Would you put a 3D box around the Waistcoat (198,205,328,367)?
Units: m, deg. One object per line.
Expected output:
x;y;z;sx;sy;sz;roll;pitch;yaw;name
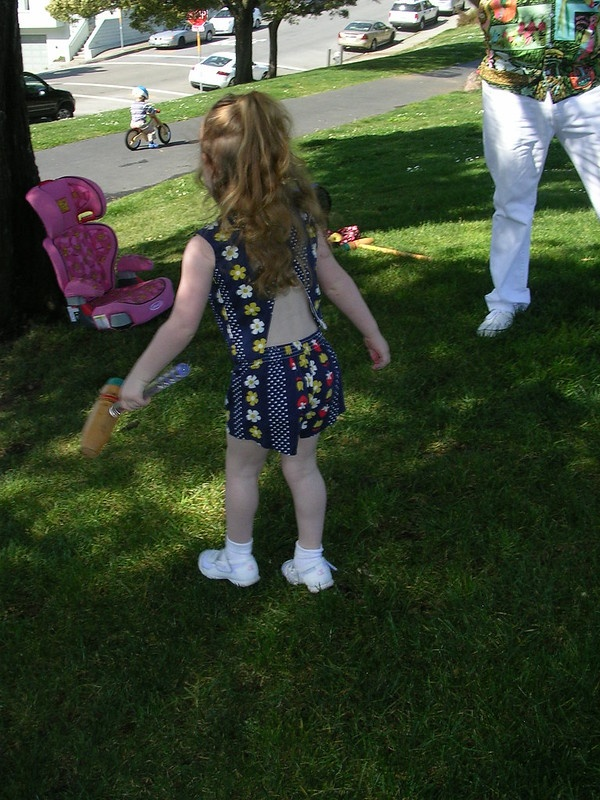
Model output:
-0.090;-0.313;1.968;0.347;0.407;0.189;-10;25;-10;Waistcoat

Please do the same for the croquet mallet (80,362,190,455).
-0.686;0.062;2.951;0.914;0.168;0.150;-27;29;46;croquet mallet

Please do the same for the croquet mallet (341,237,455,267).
0.721;-1.142;5.298;0.247;0.102;0.657;0;11;-44;croquet mallet

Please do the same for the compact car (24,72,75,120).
-7.594;-9.035;20.632;1.502;1.353;0.988;-20;28;-31;compact car

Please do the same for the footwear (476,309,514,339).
1.080;-0.424;3.794;0.223;0.086;0.119;-39;33;-3;footwear

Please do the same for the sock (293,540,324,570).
0.026;0.525;2.340;0.056;0.089;0.145;-3;5;-19;sock

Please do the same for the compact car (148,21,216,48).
-7.214;-22.293;42.346;3.517;1.378;1.960;-17;26;-28;compact car

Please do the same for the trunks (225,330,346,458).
-0.045;-0.039;2.077;0.417;0.320;0.242;-23;39;-32;trunks

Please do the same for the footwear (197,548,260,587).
-0.248;0.563;2.422;0.230;0.098;0.109;12;13;34;footwear

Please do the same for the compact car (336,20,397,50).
3.366;-18.955;36.048;1.916;1.468;2.666;9;26;29;compact car

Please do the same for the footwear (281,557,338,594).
0.035;0.581;2.343;0.086;0.089;0.204;-2;7;-41;footwear
